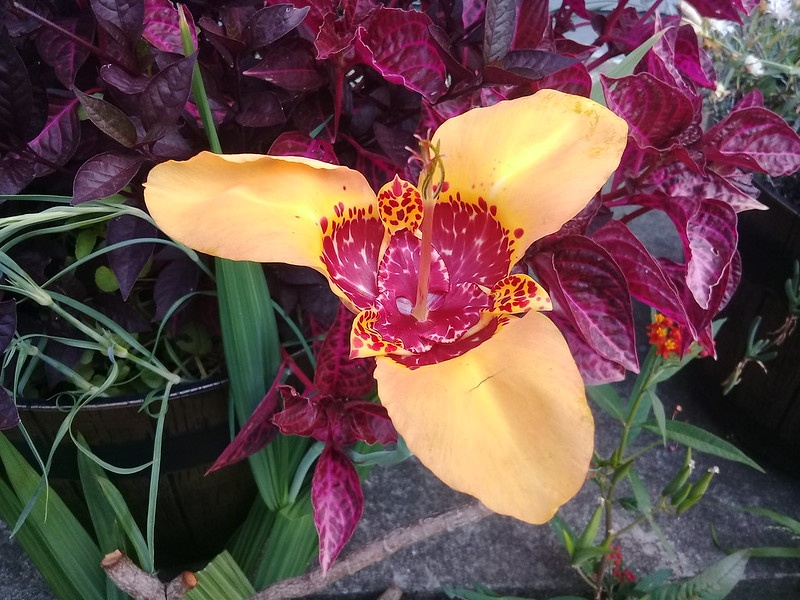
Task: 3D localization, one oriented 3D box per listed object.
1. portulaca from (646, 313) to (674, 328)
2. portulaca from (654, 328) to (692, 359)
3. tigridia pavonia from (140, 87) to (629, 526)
[{"bbox_3d":[0.505,0.041,1.352,0.032,0.015,0.034,-14,22,-13],"label":"portulaca"},{"bbox_3d":[0.486,0.066,1.242,0.028,0.073,0.066,0,7,-41],"label":"portulaca"},{"bbox_3d":[0.035,-0.080,0.878,0.592,0.277,0.436,31,51,15],"label":"tigridia pavonia"}]
